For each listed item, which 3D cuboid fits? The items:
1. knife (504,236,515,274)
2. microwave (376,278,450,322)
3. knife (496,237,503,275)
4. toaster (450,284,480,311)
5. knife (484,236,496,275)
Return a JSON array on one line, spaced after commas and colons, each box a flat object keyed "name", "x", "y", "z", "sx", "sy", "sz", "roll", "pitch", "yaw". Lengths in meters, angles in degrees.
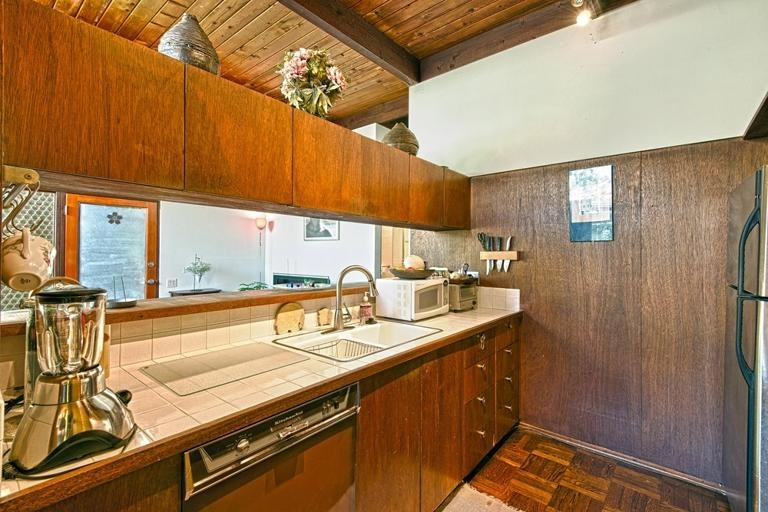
[{"name": "knife", "x": 1.020, "y": -0.019, "z": 4.094, "sx": 0.081, "sy": 0.295, "sz": 0.026, "roll": -1, "pitch": 2, "yaw": 12}, {"name": "microwave", "x": 0.170, "y": 0.247, "z": 3.690, "sx": 0.324, "sy": 0.233, "sz": 0.445, "roll": 0, "pitch": 1, "yaw": 36}, {"name": "knife", "x": 0.954, "y": -0.001, "z": 4.132, "sx": 0.040, "sy": 0.299, "sz": 0.026, "roll": 3, "pitch": -8, "yaw": 34}, {"name": "toaster", "x": 0.661, "y": 0.331, "z": 4.035, "sx": 0.186, "sy": 0.232, "sz": 0.350, "roll": -2, "pitch": -2, "yaw": 35}, {"name": "knife", "x": 0.873, "y": -0.007, "z": 4.154, "sx": 0.076, "sy": 0.328, "sz": 0.094, "roll": 0, "pitch": 2, "yaw": 25}]
